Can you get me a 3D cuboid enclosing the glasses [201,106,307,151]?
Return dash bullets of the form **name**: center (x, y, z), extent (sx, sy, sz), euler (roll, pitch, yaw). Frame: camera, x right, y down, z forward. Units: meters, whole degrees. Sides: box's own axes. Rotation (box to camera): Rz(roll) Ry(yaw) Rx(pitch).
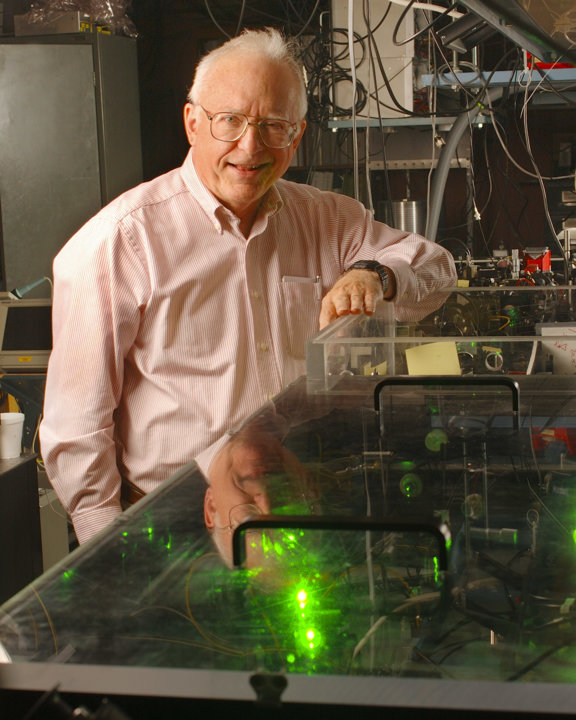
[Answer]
- **glasses**: center (-0.067, -0.393, 1.199), extent (0.147, 0.073, 0.054), euler (-4, 10, -6)
